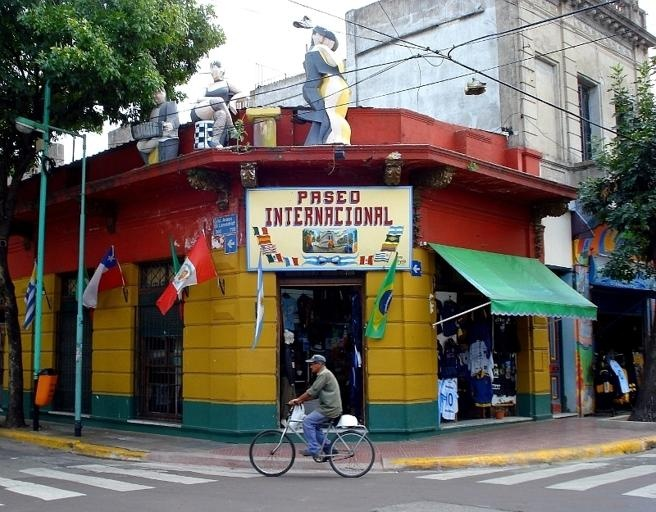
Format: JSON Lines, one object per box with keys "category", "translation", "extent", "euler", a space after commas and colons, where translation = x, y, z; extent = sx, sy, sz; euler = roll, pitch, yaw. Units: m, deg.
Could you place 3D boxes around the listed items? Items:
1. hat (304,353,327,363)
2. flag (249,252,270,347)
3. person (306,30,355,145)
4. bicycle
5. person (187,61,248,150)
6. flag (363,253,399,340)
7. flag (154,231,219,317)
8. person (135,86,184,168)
{"category": "hat", "translation": [-0.278, 2.011, 17.994], "extent": [0.352, 0.150, 0.258], "euler": [0, -5, 22]}
{"category": "flag", "translation": [-1.563, 0.976, 20.896], "extent": [0.077, 2.184, 0.522], "euler": [-5, 11, -34]}
{"category": "person", "translation": [-0.027, -4.001, 21.613], "extent": [1.076, 2.992, 0.641], "euler": [0, -10, -2]}
{"category": "bicycle", "translation": [-0.308, 3.514, 17.648], "extent": [2.424, 1.518, 1.062], "euler": [1, 5, 1]}
{"category": "person", "translation": [-2.690, -3.639, 22.125], "extent": [1.091, 2.332, 0.873], "euler": [1, -10, -7]}
{"category": "flag", "translation": [1.224, 0.906, 21.035], "extent": [0.769, 1.972, 0.335], "euler": [0, -10, 1]}
{"category": "flag", "translation": [-3.328, 0.395, 21.931], "extent": [1.678, 1.916, 0.205], "euler": [-14, -16, 30]}
{"category": "person", "translation": [-4.277, -3.286, 23.091], "extent": [0.940, 2.361, 1.262], "euler": [4, -11, -22]}
